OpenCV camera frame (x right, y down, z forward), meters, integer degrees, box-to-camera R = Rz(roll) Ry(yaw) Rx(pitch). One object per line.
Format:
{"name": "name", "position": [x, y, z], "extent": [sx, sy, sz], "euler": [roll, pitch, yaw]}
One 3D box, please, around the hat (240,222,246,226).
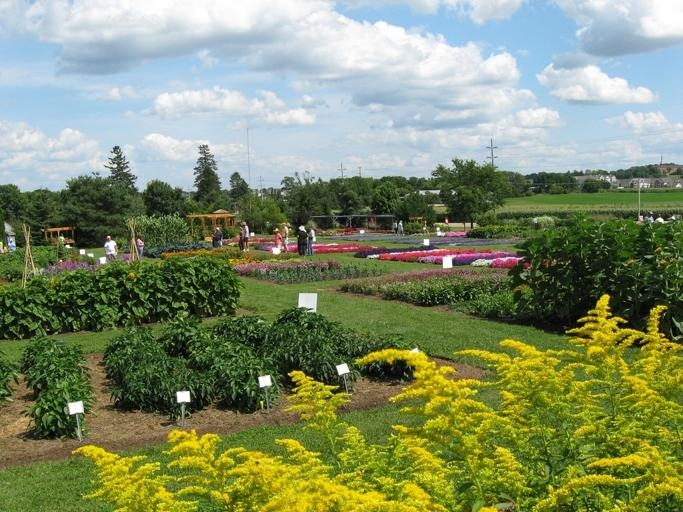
{"name": "hat", "position": [-4.816, -1.622, 32.803], "extent": [0.281, 0.157, 0.279], "euler": [-2, 3, -32]}

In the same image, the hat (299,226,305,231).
{"name": "hat", "position": [-1.809, -1.262, 30.004], "extent": [0.269, 0.127, 0.372], "euler": [3, 4, 7]}
